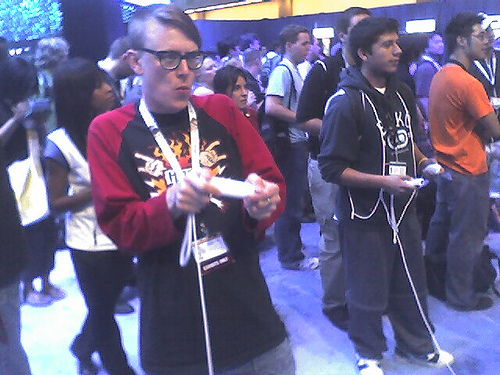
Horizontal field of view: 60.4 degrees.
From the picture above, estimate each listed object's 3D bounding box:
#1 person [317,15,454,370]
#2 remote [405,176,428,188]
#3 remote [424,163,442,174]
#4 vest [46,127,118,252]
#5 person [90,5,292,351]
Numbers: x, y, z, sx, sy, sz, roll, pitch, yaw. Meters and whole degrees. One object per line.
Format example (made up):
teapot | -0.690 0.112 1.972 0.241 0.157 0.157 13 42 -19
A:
person | 0.825 0.100 2.727 0.766 2.207 0.749 -4 20 0
remote | 0.938 -0.032 2.423 0.108 0.066 0.094 15 27 40
remote | 1.122 -0.116 2.603 0.062 0.053 0.113 -7 20 -9
vest | -0.987 0.040 2.467 0.346 0.736 0.190 11 25 34
person | -0.246 -0.002 1.647 0.752 1.314 0.585 -2 20 4
